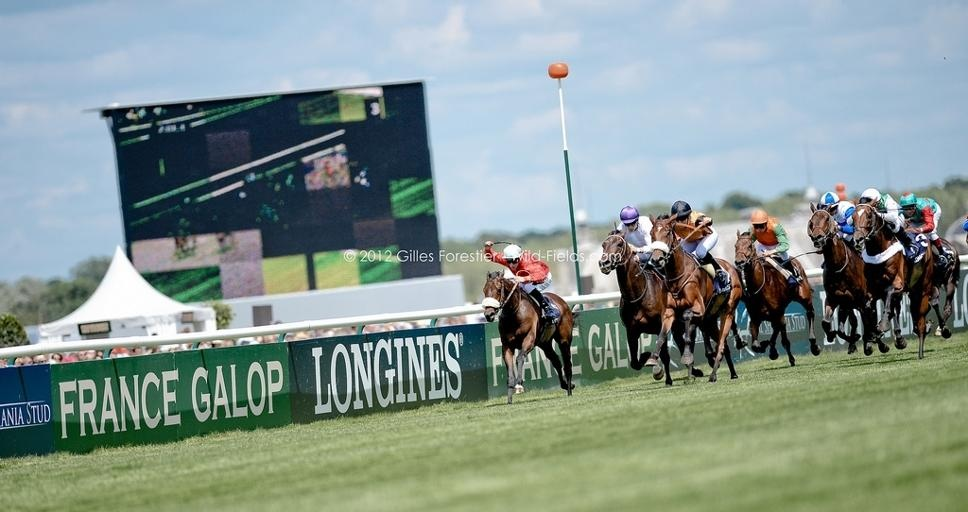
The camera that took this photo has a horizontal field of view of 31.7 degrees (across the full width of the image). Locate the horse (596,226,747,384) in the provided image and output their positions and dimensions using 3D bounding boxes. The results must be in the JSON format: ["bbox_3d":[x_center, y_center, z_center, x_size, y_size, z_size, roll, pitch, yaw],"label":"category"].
[{"bbox_3d":[3.353,0.917,31.603,2.805,3.110,1.142,-5,-8,-39],"label":"horse"}]

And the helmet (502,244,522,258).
[{"bbox_3d":[0.524,-0.072,31.761,0.340,0.289,0.282,-9,-6,-2],"label":"helmet"}]

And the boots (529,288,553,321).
[{"bbox_3d":[1.029,0.946,31.756,0.368,0.655,0.167,-41,20,-19],"label":"boots"}]

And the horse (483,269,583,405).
[{"bbox_3d":[0.860,1.499,31.848,1.013,2.470,2.322,-13,-7,29],"label":"horse"}]

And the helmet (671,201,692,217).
[{"bbox_3d":[3.284,-0.766,28.650,0.305,0.387,0.214,1,-35,21],"label":"helmet"}]

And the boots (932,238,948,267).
[{"bbox_3d":[8.835,-0.031,33.183,0.132,0.506,0.285,-22,-22,37],"label":"boots"}]
